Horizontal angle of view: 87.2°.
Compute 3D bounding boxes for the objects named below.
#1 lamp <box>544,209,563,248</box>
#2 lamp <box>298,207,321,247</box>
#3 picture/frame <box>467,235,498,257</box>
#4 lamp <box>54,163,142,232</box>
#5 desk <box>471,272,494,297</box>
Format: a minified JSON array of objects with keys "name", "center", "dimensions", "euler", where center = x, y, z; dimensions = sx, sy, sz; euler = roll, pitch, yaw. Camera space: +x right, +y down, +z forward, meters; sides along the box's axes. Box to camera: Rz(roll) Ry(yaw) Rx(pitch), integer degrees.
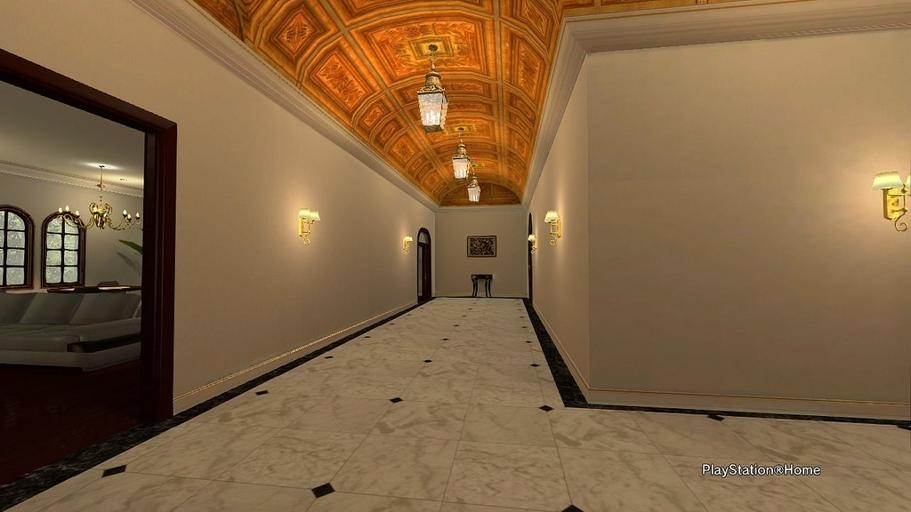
[{"name":"lamp","center":[1.974,-0.563,9.594],"dimensions":[0.269,0.714,1.051],"euler":[0,5,11]},{"name":"lamp","center":[-2.833,-0.564,9.261],"dimensions":[0.279,0.689,0.521],"euler":[0,6,11]},{"name":"picture/frame","center":[1.042,-0.368,18.087],"dimensions":[0.989,0.607,0.035],"euler":[-1,-2,6]},{"name":"lamp","center":[-9.954,-1.540,13.332],"dimensions":[1.918,1.459,1.734],"euler":[0,0,-11]},{"name":"desk","center":[0.974,1.089,18.101],"dimensions":[1.142,0.973,0.796],"euler":[-2,-13,5]}]
